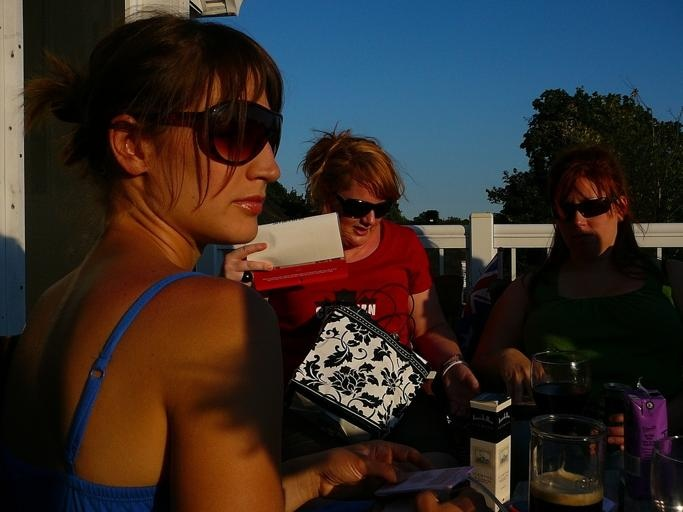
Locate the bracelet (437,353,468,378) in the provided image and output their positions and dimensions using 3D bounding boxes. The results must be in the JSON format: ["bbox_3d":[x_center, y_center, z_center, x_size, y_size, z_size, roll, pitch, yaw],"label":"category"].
[{"bbox_3d":[0.556,0.550,4.019,0.096,0.029,0.103,-31,0,15],"label":"bracelet"}]

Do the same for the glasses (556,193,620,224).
[{"bbox_3d":[1.308,-0.252,4.197,0.283,0.130,0.108,0,7,13],"label":"glasses"}]

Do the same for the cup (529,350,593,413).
[{"bbox_3d":[0.891,0.508,3.234,0.235,0.287,0.238,0,-8,0],"label":"cup"}]
